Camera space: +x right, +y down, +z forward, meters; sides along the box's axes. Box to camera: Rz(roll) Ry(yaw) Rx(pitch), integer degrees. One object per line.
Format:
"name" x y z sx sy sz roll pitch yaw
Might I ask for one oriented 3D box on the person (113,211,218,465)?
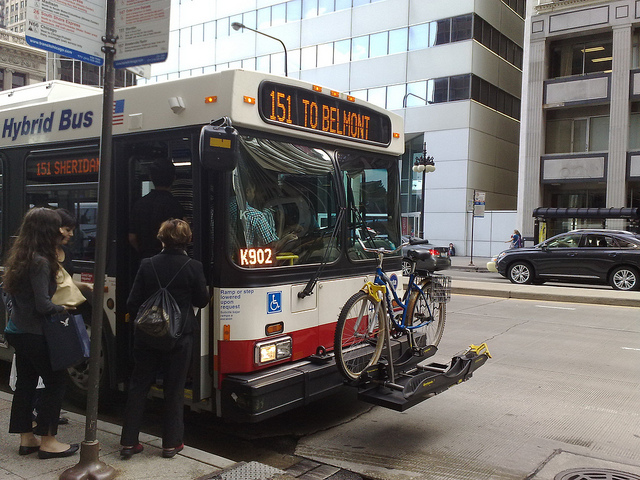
"person" -1.627 0.947 5.952 0.971 2.452 1.264 -1 5 -23

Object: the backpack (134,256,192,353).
"backpack" -1.498 0.630 5.488 0.530 0.903 0.301 1 5 -6

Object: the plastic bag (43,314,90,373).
"plastic bag" -2.424 0.949 5.516 0.344 0.538 0.192 -20 -4 8

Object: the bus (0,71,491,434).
"bus" -1.540 -0.040 7.602 6.260 2.969 3.266 1 2 42

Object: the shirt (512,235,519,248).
"shirt" 8.846 0.050 26.031 0.496 0.526 0.285 7 9 39

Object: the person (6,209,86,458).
"person" -2.684 0.878 5.606 0.602 2.353 0.682 -1 5 -27

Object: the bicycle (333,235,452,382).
"bicycle" 0.881 0.699 6.448 0.951 1.439 2.295 6 4 38

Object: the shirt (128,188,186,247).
"shirt" -1.781 -0.266 6.326 0.381 0.797 0.436 2 6 -20

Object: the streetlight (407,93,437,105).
"streetlight" 6.360 -8.718 35.426 1.730 0.271 0.200 24 4 12
